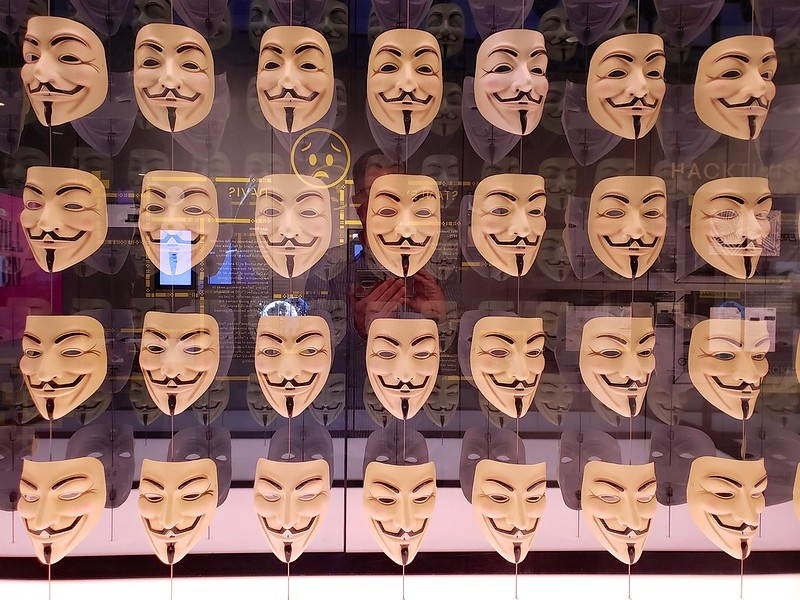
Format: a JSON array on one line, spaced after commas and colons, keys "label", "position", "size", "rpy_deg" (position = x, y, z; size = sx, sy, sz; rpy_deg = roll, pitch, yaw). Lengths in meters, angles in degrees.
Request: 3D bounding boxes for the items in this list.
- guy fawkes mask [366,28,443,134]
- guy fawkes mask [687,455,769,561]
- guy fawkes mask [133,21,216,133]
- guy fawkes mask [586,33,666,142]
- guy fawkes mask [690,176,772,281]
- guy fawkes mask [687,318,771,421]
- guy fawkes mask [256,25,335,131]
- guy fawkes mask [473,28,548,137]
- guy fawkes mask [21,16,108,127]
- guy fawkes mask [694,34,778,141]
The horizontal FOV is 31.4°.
[{"label": "guy fawkes mask", "position": [0.012, -1.134, 7.232], "size": [0.450, 0.663, 0.241], "rpy_deg": [-1, 3, -7]}, {"label": "guy fawkes mask", "position": [1.746, 1.057, 7.354], "size": [0.380, 0.594, 0.331], "rpy_deg": [-12, 22, -26]}, {"label": "guy fawkes mask", "position": [-1.155, -1.131, 7.195], "size": [0.448, 0.659, 0.250], "rpy_deg": [0, 10, -11]}, {"label": "guy fawkes mask", "position": [1.148, -1.104, 7.247], "size": [0.448, 0.638, 0.290], "rpy_deg": [-1, 4, -8]}, {"label": "guy fawkes mask", "position": [1.750, -0.390, 7.333], "size": [0.405, 0.573, 0.243], "rpy_deg": [-6, 16, -10]}, {"label": "guy fawkes mask", "position": [1.667, 0.339, 7.311], "size": [0.442, 0.666, 0.278], "rpy_deg": [0, -3, -15]}, {"label": "guy fawkes mask", "position": [-0.546, -1.140, 7.212], "size": [0.440, 0.641, 0.249], "rpy_deg": [0, 5, -4]}, {"label": "guy fawkes mask", "position": [0.558, -1.127, 7.239], "size": [0.450, 0.628, 0.313], "rpy_deg": [-1, 4, -10]}, {"label": "guy fawkes mask", "position": [-1.693, -1.161, 7.209], "size": [0.435, 0.367, 0.368], "rpy_deg": [8, -37, -15]}, {"label": "guy fawkes mask", "position": [1.768, -1.104, 7.320], "size": [0.398, 0.547, 0.298], "rpy_deg": [0, 7, -16]}]
